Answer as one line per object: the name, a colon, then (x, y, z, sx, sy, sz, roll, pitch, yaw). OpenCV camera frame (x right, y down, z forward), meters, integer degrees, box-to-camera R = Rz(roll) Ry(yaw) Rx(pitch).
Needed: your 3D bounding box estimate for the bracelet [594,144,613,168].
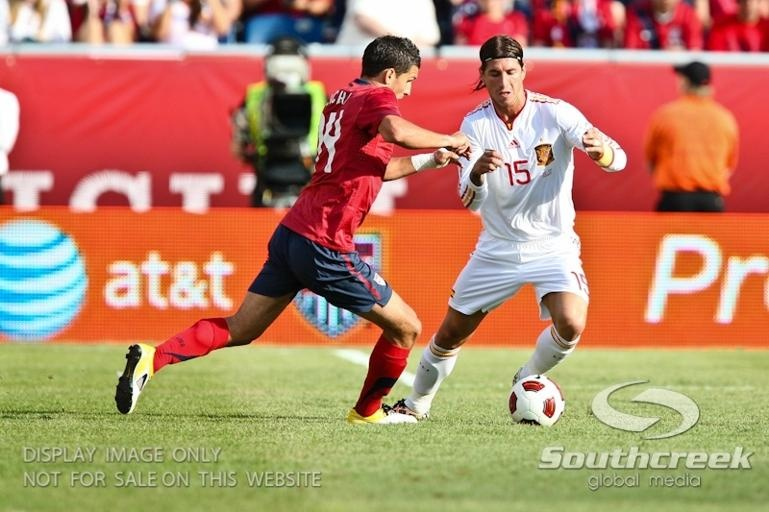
bracelet: (1.809, -0.805, 8.493, 0.144, 0.192, 0.235, 3, 10, 12)

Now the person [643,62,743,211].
person: (3.438, -1.313, 11.595, 0.990, 1.620, 0.369, 4, 10, 17)

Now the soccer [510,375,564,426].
soccer: (1.301, 1.226, 8.840, 0.401, 0.407, 0.391, 37, 9, 17)

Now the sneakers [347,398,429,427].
sneakers: (0.038, 1.317, 8.841, 0.618, 0.254, 0.224, -3, -3, -8)

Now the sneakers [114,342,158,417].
sneakers: (-2.031, 0.947, 8.411, 0.297, 0.605, 0.249, 35, -23, -33)
